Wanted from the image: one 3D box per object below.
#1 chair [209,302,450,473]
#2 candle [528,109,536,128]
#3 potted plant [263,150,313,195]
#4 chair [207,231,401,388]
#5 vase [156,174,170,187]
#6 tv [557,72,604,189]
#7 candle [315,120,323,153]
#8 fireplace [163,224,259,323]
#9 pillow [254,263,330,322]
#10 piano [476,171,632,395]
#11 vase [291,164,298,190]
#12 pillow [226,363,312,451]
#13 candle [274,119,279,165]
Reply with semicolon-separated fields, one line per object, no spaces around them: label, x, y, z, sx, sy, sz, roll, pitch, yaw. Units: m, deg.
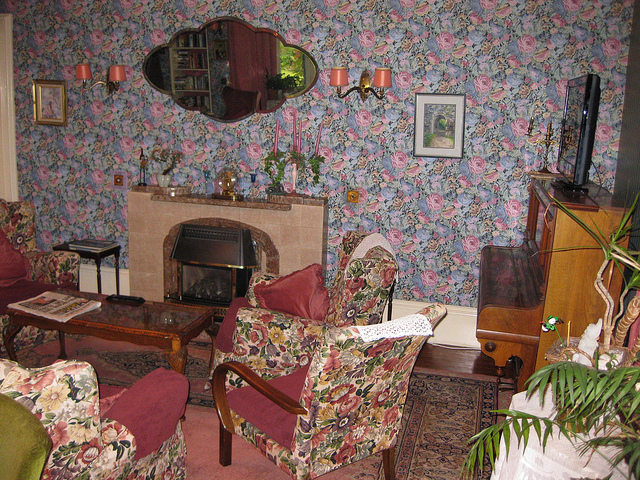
chair;0.014;0.807;3.325;1.021;1.151;1.224;-7;13;-39
candle;1.860;-1.064;4.721;0.041;0.165;0.113;6;2;27
potted plant;-0.358;-0.679;5.193;0.448;0.466;0.232;-1;9;7
chair;-0.039;0.365;4.022;1.044;1.222;0.867;12;12;8
vase;-1.616;-0.612;5.531;0.117;0.105;0.117;-8;16;-28
tv;1.801;-0.774;3.743;0.150;0.824;0.706;5;1;18
candle;-0.016;-0.988;5.230;0.041;0.351;0.043;13;8;-1
fireplace;-1.081;0.309;5.352;0.953;0.946;0.432;6;11;16
pillow;-0.198;0.355;3.868;0.588;0.313;0.143;6;2;29
piano;1.482;0.273;3.390;0.514;1.118;1.497;4;22;14
vase;-0.251;-0.601;5.198;0.036;0.193;0.089;5;2;4
pillow;-0.260;0.872;3.105;0.460;0.120;0.490;-19;29;-39
candle;-0.432;-0.998;5.297;0.038;0.312;0.093;5;2;-6
